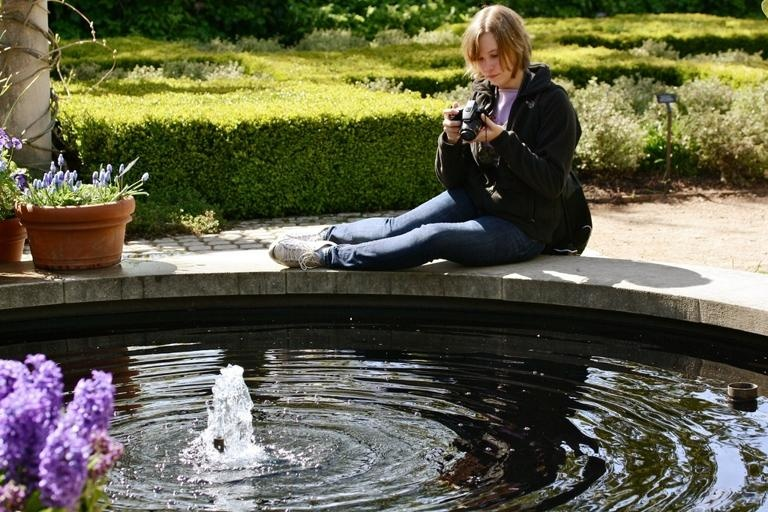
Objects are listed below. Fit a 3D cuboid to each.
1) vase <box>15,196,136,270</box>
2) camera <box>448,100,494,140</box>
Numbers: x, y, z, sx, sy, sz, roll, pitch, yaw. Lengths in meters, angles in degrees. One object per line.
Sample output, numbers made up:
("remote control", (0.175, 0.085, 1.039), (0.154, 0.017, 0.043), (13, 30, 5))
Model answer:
("vase", (-2.225, -0.164, 7.216), (0.639, 0.311, 0.607), (0, 2, 25))
("camera", (0.624, -0.924, 6.947), (0.272, 0.136, 0.330), (23, 63, 27))
